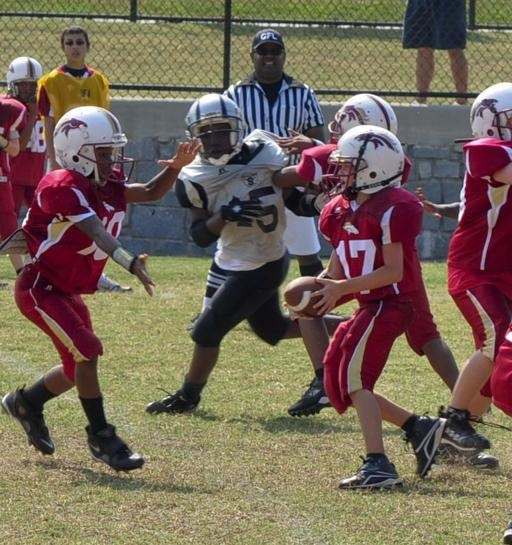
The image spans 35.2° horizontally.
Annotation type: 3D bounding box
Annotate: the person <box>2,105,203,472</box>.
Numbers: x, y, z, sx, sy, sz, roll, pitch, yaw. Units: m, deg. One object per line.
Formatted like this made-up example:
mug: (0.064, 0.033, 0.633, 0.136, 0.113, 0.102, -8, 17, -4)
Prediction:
person: (-0.827, 0.031, 3.681, 0.715, 1.601, 0.986, 0, 10, -7)

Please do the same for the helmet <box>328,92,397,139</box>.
helmet: (0.545, -0.836, 4.196, 0.409, 0.238, 0.230, 1, 31, 1)

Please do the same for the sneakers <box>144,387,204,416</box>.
sneakers: (-0.428, 0.684, 4.311, 0.336, 0.109, 0.097, -1, 41, -24)

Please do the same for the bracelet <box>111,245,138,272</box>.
bracelet: (-0.541, -0.062, 3.328, 0.136, 0.049, 0.079, 31, 32, 10)

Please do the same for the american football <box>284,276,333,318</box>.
american football: (0.193, 0.100, 3.478, 0.215, 0.131, 0.174, 16, 1, 38)

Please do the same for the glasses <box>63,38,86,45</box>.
glasses: (-1.558, -2.003, 6.957, 0.190, 0.058, 0.100, -1, 8, -13)

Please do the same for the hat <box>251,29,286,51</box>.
hat: (0.074, -1.651, 5.659, 0.187, 0.094, 0.207, 1, 11, -1)

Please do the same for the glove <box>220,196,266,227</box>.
glove: (-0.072, -0.326, 4.044, 0.224, 0.105, 0.068, -3, -21, 14)

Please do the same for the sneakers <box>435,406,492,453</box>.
sneakers: (0.994, 0.715, 3.646, 0.135, 0.130, 0.371, 4, -1, -40)

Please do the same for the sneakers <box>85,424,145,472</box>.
sneakers: (-0.615, 0.769, 3.490, 0.365, 0.126, 0.126, 18, 32, 30)

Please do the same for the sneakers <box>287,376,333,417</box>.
sneakers: (0.287, 0.665, 4.315, 0.372, 0.145, 0.116, -16, -3, -38)

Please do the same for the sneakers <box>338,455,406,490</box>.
sneakers: (0.380, 0.791, 3.152, 0.366, 0.141, 0.096, 0, -8, 0)

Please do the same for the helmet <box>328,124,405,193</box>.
helmet: (0.500, -0.503, 3.496, 0.408, 0.234, 0.267, -8, 24, -6)

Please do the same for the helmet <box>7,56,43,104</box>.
helmet: (-2.034, -1.791, 7.259, 0.381, 0.323, 0.406, 2, 14, -15)
